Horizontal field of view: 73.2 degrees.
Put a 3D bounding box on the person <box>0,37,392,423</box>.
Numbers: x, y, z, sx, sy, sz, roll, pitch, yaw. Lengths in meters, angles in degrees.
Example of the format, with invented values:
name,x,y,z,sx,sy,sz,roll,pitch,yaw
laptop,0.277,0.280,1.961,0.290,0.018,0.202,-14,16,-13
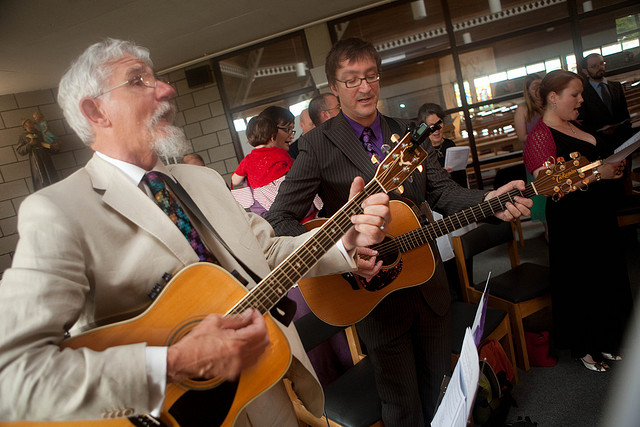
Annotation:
name,x,y,z,sx,sy,sz,roll,pitch,yaw
person,-0.761,-0.002,1.727,0.990,0.971,0.668,-14,12,-11

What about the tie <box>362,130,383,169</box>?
name,x,y,z,sx,sy,sz,roll,pitch,yaw
tie,0.289,-0.328,2.240,0.103,0.225,0.032,-12,-10,-34

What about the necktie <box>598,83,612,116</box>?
name,x,y,z,sx,sy,sz,roll,pitch,yaw
necktie,3.419,-1.378,5.152,0.145,0.304,0.040,-13,-1,-35

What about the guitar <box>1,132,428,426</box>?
name,x,y,z,sx,sy,sz,roll,pitch,yaw
guitar,-0.270,0.284,1.881,1.910,0.777,0.269,-43,9,-32

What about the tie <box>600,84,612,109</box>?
name,x,y,z,sx,sy,sz,roll,pitch,yaw
tie,3.420,-1.404,5.173,0.114,0.242,0.032,-9,-10,-9

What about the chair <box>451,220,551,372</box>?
name,x,y,z,sx,sy,sz,roll,pitch,yaw
chair,1.567,0.602,3.461,0.648,0.955,0.616,-17,13,-22

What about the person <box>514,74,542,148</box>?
name,x,y,z,sx,sy,sz,roll,pitch,yaw
person,2.047,-1.105,4.311,0.301,0.278,0.927,10,-3,28

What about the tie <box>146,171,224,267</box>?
name,x,y,z,sx,sy,sz,roll,pitch,yaw
tie,-0.583,0.005,1.914,0.205,0.535,0.077,-31,-2,26

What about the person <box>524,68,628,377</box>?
name,x,y,z,sx,sy,sz,roll,pitch,yaw
person,1.784,0.081,3.039,0.544,2.116,0.771,-5,13,28

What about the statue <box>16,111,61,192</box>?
name,x,y,z,sx,sy,sz,roll,pitch,yaw
statue,-4.170,-0.862,6.477,0.560,1.307,0.377,-18,-6,-31
